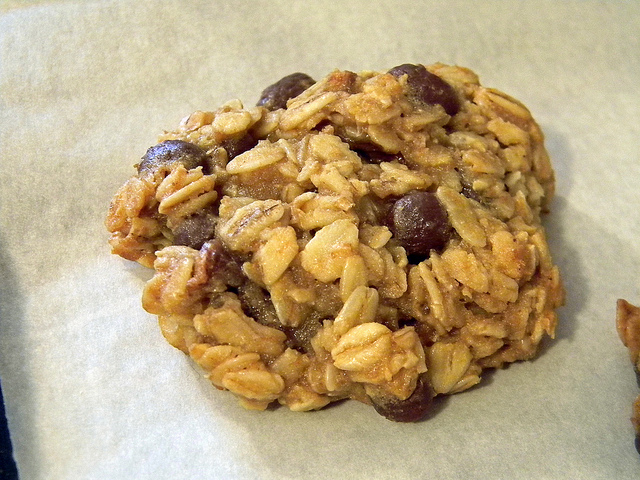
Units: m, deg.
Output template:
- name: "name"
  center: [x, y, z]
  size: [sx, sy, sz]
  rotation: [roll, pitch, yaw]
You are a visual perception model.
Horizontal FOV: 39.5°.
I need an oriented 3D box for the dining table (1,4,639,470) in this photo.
- name: "dining table"
  center: [-0.061, -0.157, 2.874]
  size: [2.277, 0.505, 1.747]
  rotation: [0, 67, 2]
